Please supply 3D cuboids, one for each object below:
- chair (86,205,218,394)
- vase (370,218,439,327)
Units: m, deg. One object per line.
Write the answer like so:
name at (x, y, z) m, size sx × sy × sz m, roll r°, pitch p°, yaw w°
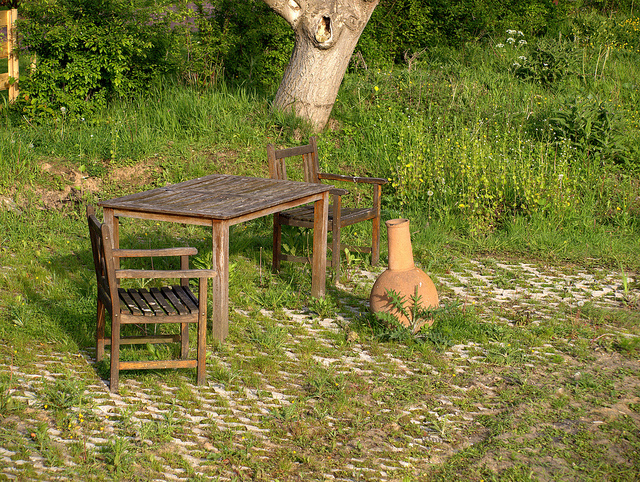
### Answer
chair at (-1.754, 0.353, 9.018) m, size 1.135 × 1.583 × 1.975 m, roll -1°, pitch 17°, yaw -14°
vase at (0.880, 0.411, 9.440) m, size 0.684 × 1.267 × 0.730 m, roll -9°, pitch 7°, yaw -11°
